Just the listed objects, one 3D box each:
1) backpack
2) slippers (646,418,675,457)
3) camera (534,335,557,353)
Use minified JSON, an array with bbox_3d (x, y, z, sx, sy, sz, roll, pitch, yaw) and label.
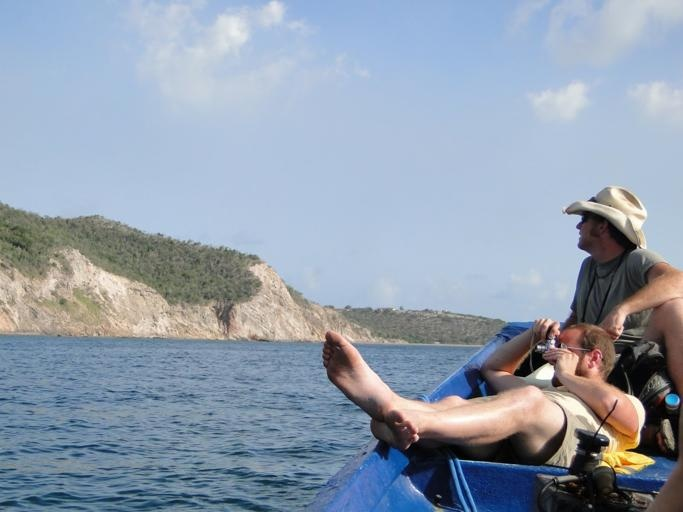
[{"bbox_3d":[2.581,1.066,7.431,0.607,0.568,0.433,19,-14,-30],"label":"backpack"},{"bbox_3d":[2.688,1.520,7.115,0.119,0.314,0.316,-13,-58,48],"label":"slippers"},{"bbox_3d":[1.752,0.754,7.234,0.068,0.124,0.162,-12,-38,-57],"label":"camera"}]
